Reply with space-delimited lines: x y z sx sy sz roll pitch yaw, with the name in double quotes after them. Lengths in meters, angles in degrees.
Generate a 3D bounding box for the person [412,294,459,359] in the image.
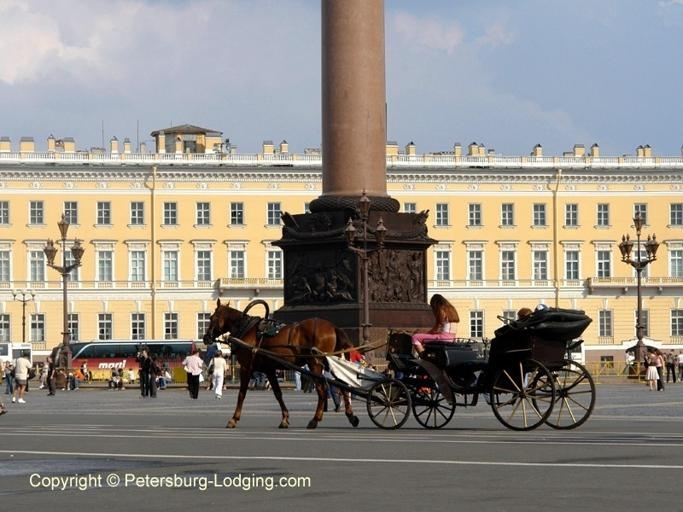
2.376 1.829 47.288 1.234 1.788 0.785 -1 -8 13 "person"
